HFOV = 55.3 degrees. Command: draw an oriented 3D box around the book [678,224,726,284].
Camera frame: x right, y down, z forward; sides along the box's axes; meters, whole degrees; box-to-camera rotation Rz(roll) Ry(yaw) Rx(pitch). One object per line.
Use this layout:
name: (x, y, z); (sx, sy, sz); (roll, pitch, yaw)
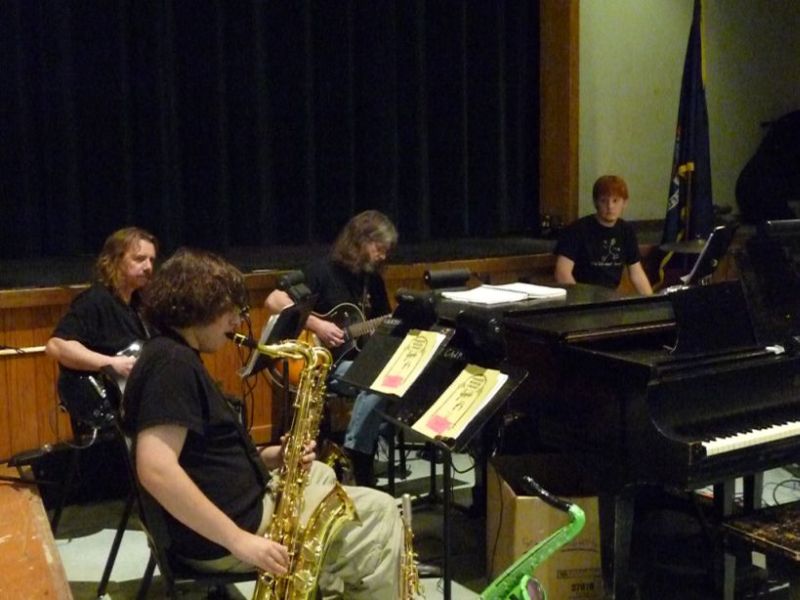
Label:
book: (1.748, -0.251, 4.357); (0.228, 0.321, 0.534); (-1, 3, 18)

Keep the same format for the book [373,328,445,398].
book: (0.037, 0.257, 3.198); (0.066, 0.278, 0.254); (45, -23, -26)

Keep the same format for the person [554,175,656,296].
person: (1.489, -0.474, 5.618); (0.730, 0.856, 0.310); (-3, 4, -22)

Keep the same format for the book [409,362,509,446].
book: (0.242, 0.401, 3.001); (0.339, 0.080, 0.245); (-48, 26, -19)

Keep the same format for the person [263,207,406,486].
person: (-0.312, 0.359, 4.945); (0.663, 1.945, 0.983); (11, 19, 37)

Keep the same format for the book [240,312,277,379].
book: (-0.644, 0.214, 3.520); (0.072, 0.296, 0.259); (23, 28, 19)

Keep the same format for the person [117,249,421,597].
person: (-0.775, 0.439, 3.472); (1.288, 1.912, 0.983); (-7, 9, -29)

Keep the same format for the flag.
flag: (2.445, -1.504, 6.512); (0.403, 2.006, 0.317); (0, 4, 22)
